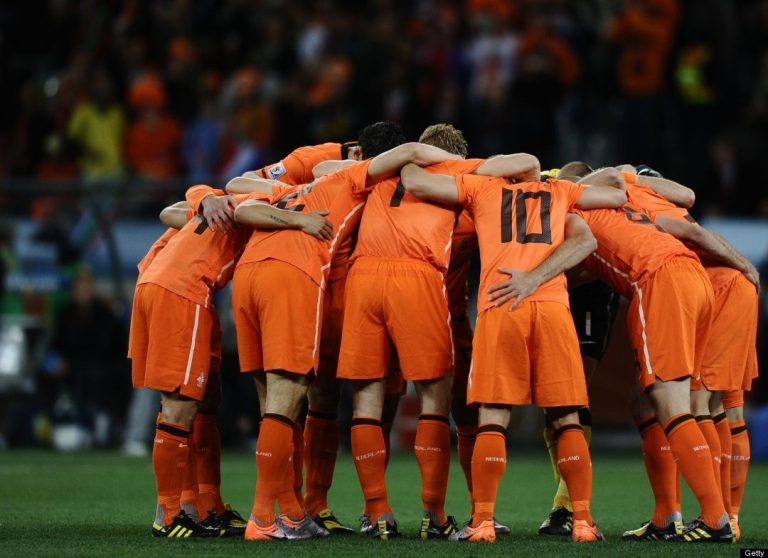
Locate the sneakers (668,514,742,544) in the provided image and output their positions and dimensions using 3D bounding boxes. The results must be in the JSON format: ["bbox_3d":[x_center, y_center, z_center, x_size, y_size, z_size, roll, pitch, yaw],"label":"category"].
[{"bbox_3d":[3.046,2.377,12.360,0.630,0.242,0.229,0,-9,15],"label":"sneakers"}]

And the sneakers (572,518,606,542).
[{"bbox_3d":[1.939,2.395,12.412,0.310,0.219,0.207,0,-12,-2],"label":"sneakers"}]

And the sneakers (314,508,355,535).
[{"bbox_3d":[-0.447,2.421,12.973,0.504,0.218,0.175,13,1,13],"label":"sneakers"}]

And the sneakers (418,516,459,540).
[{"bbox_3d":[0.535,2.442,12.757,0.159,0.200,0.465,-1,-4,39],"label":"sneakers"}]

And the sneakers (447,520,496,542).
[{"bbox_3d":[0.846,2.400,12.387,0.472,0.209,0.176,-3,-7,20],"label":"sneakers"}]

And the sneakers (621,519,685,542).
[{"bbox_3d":[2.595,2.459,12.694,0.637,0.264,0.232,-2,-21,15],"label":"sneakers"}]

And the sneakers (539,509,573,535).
[{"bbox_3d":[1.703,2.421,13.042,0.335,0.287,0.233,-1,-12,5],"label":"sneakers"}]

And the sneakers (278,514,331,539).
[{"bbox_3d":[-0.742,2.386,12.503,0.541,0.235,0.183,7,0,-23],"label":"sneakers"}]
